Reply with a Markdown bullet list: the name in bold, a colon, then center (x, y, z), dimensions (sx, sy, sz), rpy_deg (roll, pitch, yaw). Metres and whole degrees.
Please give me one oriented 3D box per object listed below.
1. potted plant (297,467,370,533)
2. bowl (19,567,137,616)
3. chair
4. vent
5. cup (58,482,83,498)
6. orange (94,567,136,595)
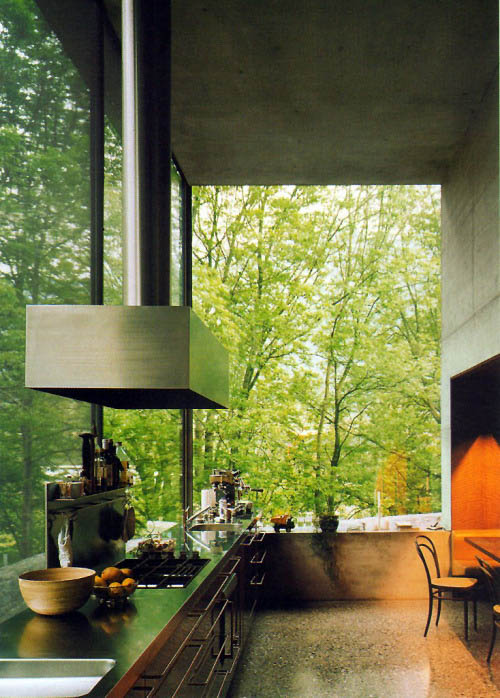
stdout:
- **potted plant**: center (1.030, 1.717, 7.950), dimensions (0.741, 0.911, 0.952), rpy_deg (-2, -5, 30)
- **bowl**: center (-0.574, 0.783, 2.184), dimensions (0.242, 0.084, 0.244), rpy_deg (-3, -19, -1)
- **chair**: center (1.678, 1.956, 5.526), dimensions (0.836, 1.234, 0.716), rpy_deg (-4, -9, 23)
- **vent**: center (-0.408, -0.648, 2.572), dimensions (0.581, 1.658, 1.041), rpy_deg (1, -7, -4)
- **cup**: center (-0.698, 0.550, 2.612), dimensions (0.040, 0.066, 0.127), rpy_deg (-4, -8, 31)
- **orange**: center (-0.458, 0.796, 2.297), dimensions (0.099, 0.056, 0.104), rpy_deg (3, -10, 0)
